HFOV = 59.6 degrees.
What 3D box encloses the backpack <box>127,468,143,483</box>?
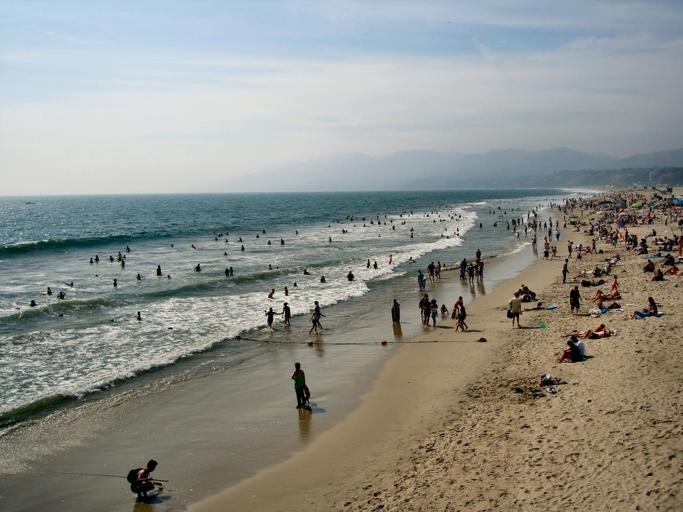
[{"bbox_3d":[-6.618,6.965,18.937,0.469,0.407,0.338,-6,7,14],"label":"backpack"}]
